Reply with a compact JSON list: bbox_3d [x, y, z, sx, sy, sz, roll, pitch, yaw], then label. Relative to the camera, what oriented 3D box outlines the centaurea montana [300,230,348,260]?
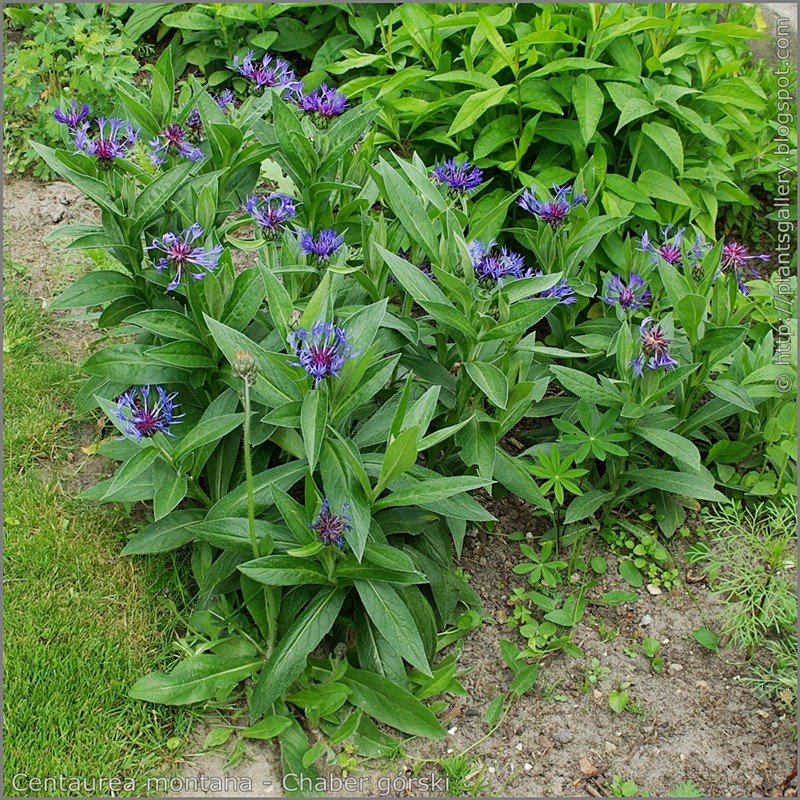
[{"bbox_3d":[-0.303,-0.596,2.898,0.138,0.097,0.145,3,55,8],"label":"centaurea montana"}]

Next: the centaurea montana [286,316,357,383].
[{"bbox_3d":[-0.239,-0.121,2.153,0.120,0.112,0.074,17,44,-46],"label":"centaurea montana"}]

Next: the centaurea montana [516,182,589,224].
[{"bbox_3d":[0.688,-0.890,3.316,0.256,0.177,0.373,8,38,19],"label":"centaurea montana"}]

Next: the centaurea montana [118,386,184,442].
[{"bbox_3d":[-0.867,0.071,2.543,0.204,0.111,0.197,9,8,32],"label":"centaurea montana"}]

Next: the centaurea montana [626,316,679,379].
[{"bbox_3d":[0.978,-0.187,2.948,0.219,0.128,0.226,10,63,-18],"label":"centaurea montana"}]

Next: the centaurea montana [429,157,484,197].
[{"bbox_3d":[0.238,-0.954,3.218,0.189,0.146,0.245,-4,35,3],"label":"centaurea montana"}]

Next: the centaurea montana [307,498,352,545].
[{"bbox_3d":[-0.216,0.402,2.439,0.140,0.154,0.072,3,-4,10],"label":"centaurea montana"}]
